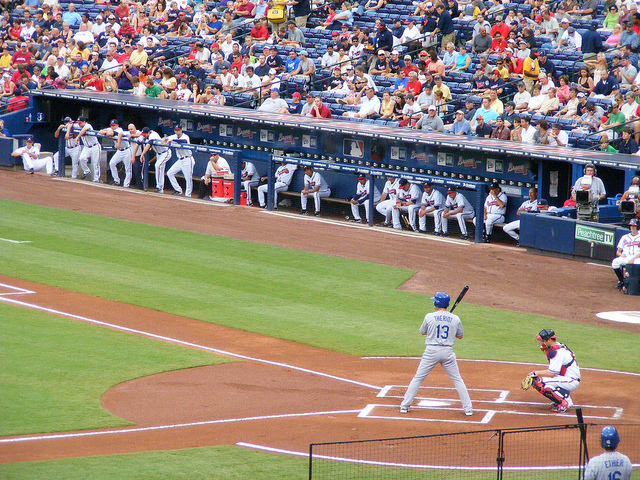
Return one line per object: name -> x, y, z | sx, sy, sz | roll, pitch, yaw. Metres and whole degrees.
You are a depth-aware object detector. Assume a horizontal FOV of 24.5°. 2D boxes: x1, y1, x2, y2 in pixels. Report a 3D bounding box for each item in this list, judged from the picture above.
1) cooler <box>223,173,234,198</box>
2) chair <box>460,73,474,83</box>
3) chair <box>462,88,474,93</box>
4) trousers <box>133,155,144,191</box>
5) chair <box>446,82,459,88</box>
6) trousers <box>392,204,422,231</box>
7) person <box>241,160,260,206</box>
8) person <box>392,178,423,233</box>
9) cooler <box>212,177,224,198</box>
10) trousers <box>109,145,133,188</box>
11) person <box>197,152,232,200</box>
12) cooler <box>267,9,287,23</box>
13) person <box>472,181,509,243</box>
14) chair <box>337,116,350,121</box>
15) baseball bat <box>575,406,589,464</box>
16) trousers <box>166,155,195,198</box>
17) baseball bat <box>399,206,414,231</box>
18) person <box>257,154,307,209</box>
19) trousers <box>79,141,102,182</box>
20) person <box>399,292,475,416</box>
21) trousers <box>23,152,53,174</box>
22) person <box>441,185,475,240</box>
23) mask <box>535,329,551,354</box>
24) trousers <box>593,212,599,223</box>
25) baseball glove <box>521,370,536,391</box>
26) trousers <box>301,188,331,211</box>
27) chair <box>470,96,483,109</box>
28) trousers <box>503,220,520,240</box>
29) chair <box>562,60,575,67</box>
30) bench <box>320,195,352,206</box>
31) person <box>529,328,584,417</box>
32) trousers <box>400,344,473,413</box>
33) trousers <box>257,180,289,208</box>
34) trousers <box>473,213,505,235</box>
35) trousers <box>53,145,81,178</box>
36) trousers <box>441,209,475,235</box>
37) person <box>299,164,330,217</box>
cooler -> -2.607, -1.566, 42.153 | 0.420, 0.698, 0.184 | 3, 2, 43
chair -> 4.241, -4.661, 42.425 | 0.320, 0.253, 0.297 | 2, 4, 15
chair -> 4.217, -4.251, 41.912 | 0.314, 0.135, 0.197 | 1, 1, 20
trousers -> -5.370, -2.006, 43.609 | 0.333, 1.011, 0.646 | 2, 2, -8
chair -> 3.851, -4.460, 42.474 | 0.369, 0.158, 0.159 | 2, 2, 25
trousers -> 2.315, -0.633, 39.504 | 0.747, 0.811, 0.795 | 1, -1, 45
person -> -1.993, -1.621, 42.156 | 0.524, 1.274, 0.766 | 2, 2, -2
person -> 2.341, -0.933, 39.541 | 0.776, 1.438, 0.522 | 2, 2, 15
cooler -> -2.917, -1.516, 42.329 | 0.447, 0.558, 0.201 | 3, 2, 36
trousers -> -5.835, -2.190, 43.792 | 0.994, 1.253, 0.514 | 3, 2, 43
person -> -3.096, -1.833, 42.507 | 0.717, 1.337, 1.549 | 1, 1, -17
cooler -> -1.383, -7.244, 47.969 | 0.800, 0.629, 0.399 | -1, -10, 4
person -> 4.503, -0.721, 38.538 | 0.674, 1.569, 0.865 | 3, 2, 28
chair -> 0.689, -3.520, 42.615 | 0.464, 0.117, 0.109 | 3, 2, 40
baseball bat -> 4.814, 3.601, 27.000 | 0.151, 1.044, 0.153 | -11, -3, -4
trousers -> -3.985, -1.868, 43.071 | 0.813, 1.241, 0.643 | 3, 2, 28
baseball bat -> 2.356, -0.515, 39.686 | 0.083, 0.581, 0.062 | -41, -11, 35
person -> -1.096, -1.648, 41.895 | 1.242, 1.567, 0.999 | -2, -1, -7
trousers -> -6.926, -2.366, 44.450 | 0.471, 1.219, 0.779 | 1, 2, -40
person -> 2.310, 2.208, 28.541 | 1.412, 2.310, 0.380 | 2, 2, 4
trousers -> -8.667, -2.354, 45.234 | 0.901, 0.627, 0.363 | 1, 2, -10
person -> 3.675, -0.716, 38.921 | 0.868, 1.369, 0.614 | 2, 2, 13
mask -> 4.434, 1.983, 29.141 | 0.268, 0.466, 0.571 | 2, 2, 8
trousers -> 6.894, -0.571, 36.694 | 0.093, 0.234, 0.682 | 2, 2, 15
baseball glove -> 4.103, 2.737, 28.799 | 0.257, 0.357, 0.113 | 1, -33, 37
trousers -> -0.082, -1.106, 41.053 | 0.711, 0.715, 0.665 | 1, 5, -32
chair -> 4.298, -3.826, 40.935 | 0.286, 0.337, 0.321 | 10, 46, 13
trousers -> 4.941, -0.273, 38.013 | 0.403, 0.506, 0.818 | 2, 1, 6
chair -> 7.118, -5.004, 41.912 | 0.141, 0.205, 0.462 | 0, 2, -42
bench -> 0.489, -1.121, 41.126 | 0.057, 0.209, 1.372 | 14, -2, -39
person -> 4.623, 2.582, 28.793 | 0.885, 1.659, 0.471 | 2, 2, 9
trousers -> 2.312, 2.798, 29.296 | 1.452, 1.127, 0.416 | 4, 14, 5
trousers -> -1.336, -1.330, 41.697 | 0.893, 0.839, 0.784 | 4, 3, -36
trousers -> 4.538, -0.434, 38.394 | 0.671, 0.556, 0.225 | 4, 3, 16
trousers -> -7.709, -2.399, 45.020 | 0.521, 0.976, 1.452 | 1, 1, -24
trousers -> 3.650, -0.420, 38.928 | 0.781, 0.931, 0.797 | -3, 7, -27
person -> -0.147, -1.374, 41.130 | 0.809, 1.427, 1.223 | 2, 2, -1
